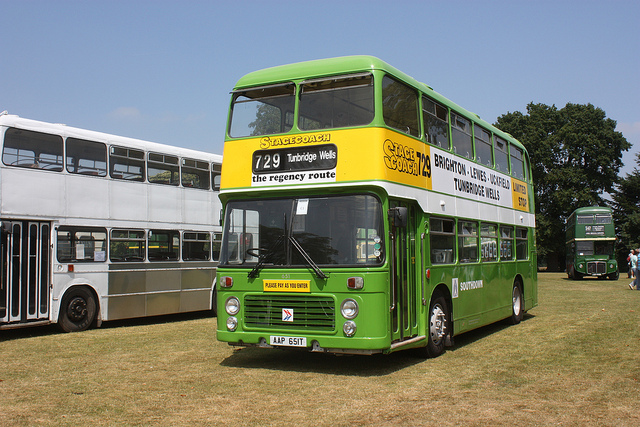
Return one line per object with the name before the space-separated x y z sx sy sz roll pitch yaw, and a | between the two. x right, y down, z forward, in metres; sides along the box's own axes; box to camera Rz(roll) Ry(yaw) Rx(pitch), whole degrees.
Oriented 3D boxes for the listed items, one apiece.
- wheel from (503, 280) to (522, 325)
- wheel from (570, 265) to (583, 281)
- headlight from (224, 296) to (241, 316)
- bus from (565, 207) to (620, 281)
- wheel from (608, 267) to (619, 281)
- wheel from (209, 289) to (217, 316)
wheel | 6.646 3.058 17.427 0.523 1.531 1.169 -2 -4 25
wheel | 22.880 5.266 45.065 0.521 1.486 1.426 -1 -4 14
headlight | -1.853 1.969 10.761 0.396 0.450 0.115 2 1 29
bus | 24.043 2.475 44.434 3.137 6.023 1.739 0 -3 1
wheel | 26.145 5.363 45.084 0.473 1.360 1.304 -7 -2 20
wheel | -4.227 3.550 20.078 0.181 1.135 1.557 1 -4 -15
